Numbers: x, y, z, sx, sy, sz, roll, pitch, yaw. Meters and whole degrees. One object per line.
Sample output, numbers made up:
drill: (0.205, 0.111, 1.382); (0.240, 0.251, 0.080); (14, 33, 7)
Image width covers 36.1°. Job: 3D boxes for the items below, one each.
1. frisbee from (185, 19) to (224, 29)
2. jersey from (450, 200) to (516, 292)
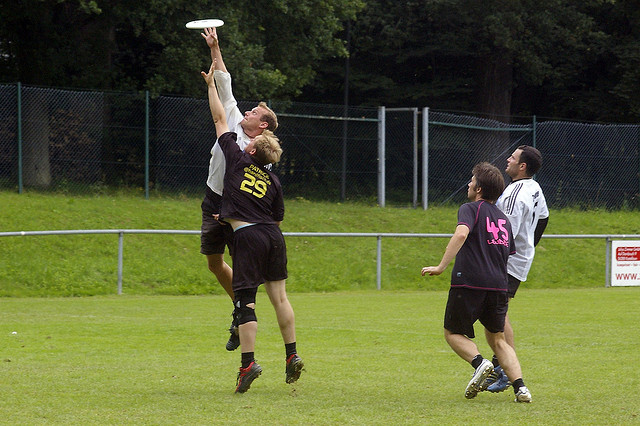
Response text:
frisbee: (-1.894, -3.100, 16.165); (0.558, 0.131, 0.485); (-1, 12, -14)
jersey: (2.570, 0.541, 15.284); (1.458, 1.241, 0.766); (9, -7, -29)
